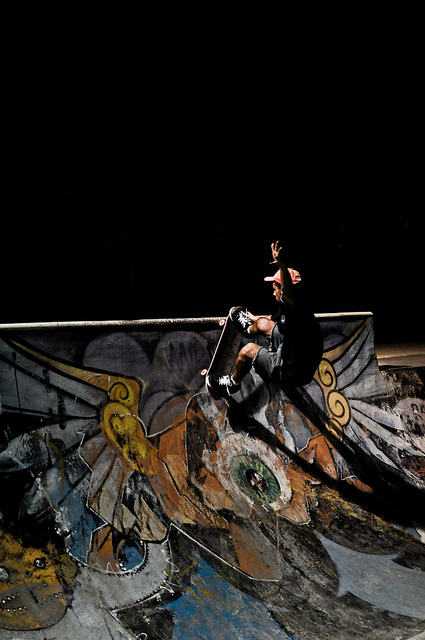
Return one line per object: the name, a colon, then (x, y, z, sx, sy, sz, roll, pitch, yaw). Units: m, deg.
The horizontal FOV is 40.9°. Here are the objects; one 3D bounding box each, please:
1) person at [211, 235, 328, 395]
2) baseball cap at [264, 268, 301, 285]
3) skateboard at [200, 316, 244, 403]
person: (0.639, -0.091, 7.270, 1.145, 1.961, 1.036, 27, 48, 25)
baseball cap: (0.727, -0.435, 5.750, 0.294, 0.163, 0.187, 18, 9, -2)
skateboard: (0.123, 0.410, 6.346, 0.330, 1.173, 0.200, 26, -14, -31)
